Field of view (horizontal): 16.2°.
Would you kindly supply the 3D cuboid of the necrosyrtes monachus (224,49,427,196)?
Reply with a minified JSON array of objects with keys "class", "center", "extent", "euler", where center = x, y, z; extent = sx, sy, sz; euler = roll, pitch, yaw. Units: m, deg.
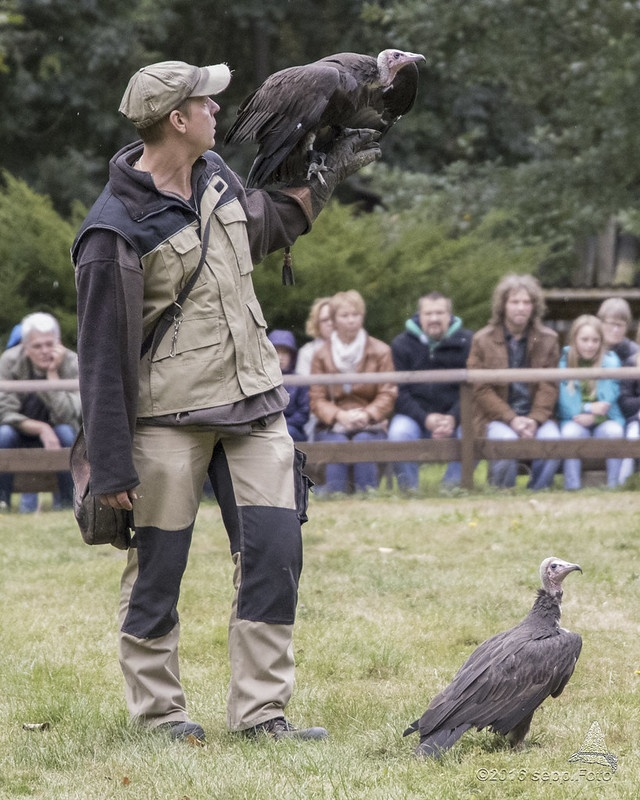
[{"class":"necrosyrtes monachus","center":[0.034,-1.195,9.392],"extent":[0.716,0.734,0.443],"euler":[2,0,-23]}]

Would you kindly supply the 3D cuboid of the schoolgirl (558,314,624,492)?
[{"class":"schoolgirl","center":[1.456,0.009,12.047],"extent":[0.319,0.910,0.302],"euler":[3,10,21]}]

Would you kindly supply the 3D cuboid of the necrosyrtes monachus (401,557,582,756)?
[{"class":"necrosyrtes monachus","center":[0.679,1.030,8.693],"extent":[0.717,0.801,0.449],"euler":[-3,1,-29]}]
